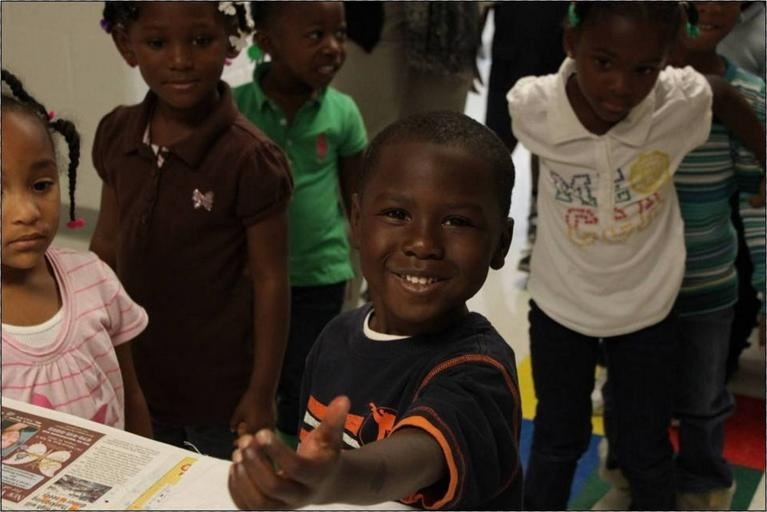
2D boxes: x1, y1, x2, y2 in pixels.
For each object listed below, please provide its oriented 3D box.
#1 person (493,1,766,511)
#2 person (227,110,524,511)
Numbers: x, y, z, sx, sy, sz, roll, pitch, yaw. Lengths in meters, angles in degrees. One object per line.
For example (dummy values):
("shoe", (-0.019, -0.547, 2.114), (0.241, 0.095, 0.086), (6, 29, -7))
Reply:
("person", (0.673, 0.028, 1.798), (0.643, 1.344, 0.458), (-3, 26, 14))
("person", (0.007, 0.160, 1.275), (0.509, 0.718, 0.687), (-4, 24, 10))
